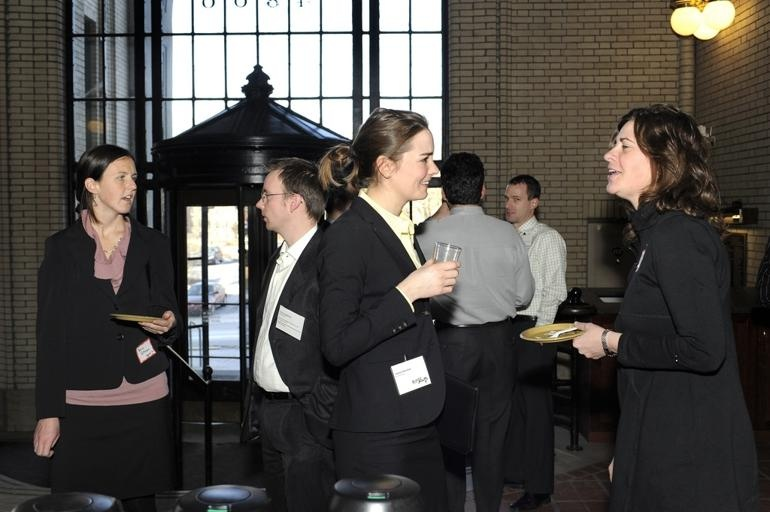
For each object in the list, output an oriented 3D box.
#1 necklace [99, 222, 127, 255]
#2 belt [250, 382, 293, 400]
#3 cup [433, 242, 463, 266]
[{"bbox_3d":[-1.726,-0.108,4.891,0.148,0.173,0.072,2,-17,-9],"label":"necklace"},{"bbox_3d":[-0.717,0.855,4.826,0.163,0.052,0.133,3,0,14],"label":"belt"},{"bbox_3d":[0.334,-0.010,4.272,0.127,0.095,0.126,2,-8,0],"label":"cup"}]
